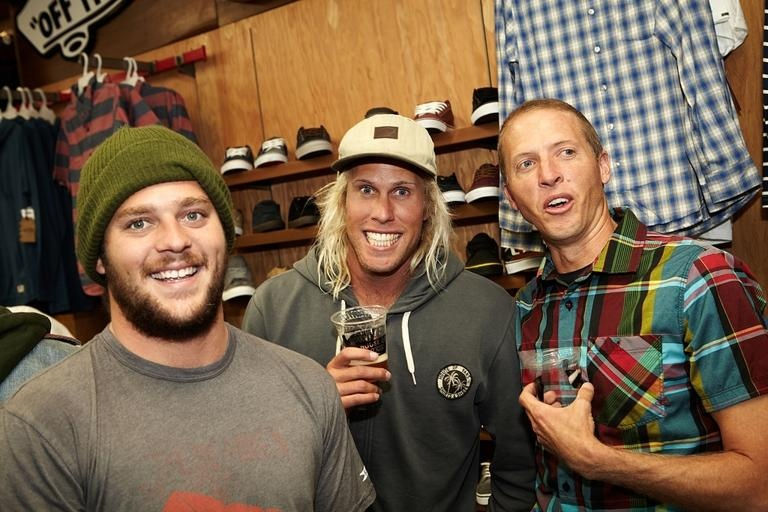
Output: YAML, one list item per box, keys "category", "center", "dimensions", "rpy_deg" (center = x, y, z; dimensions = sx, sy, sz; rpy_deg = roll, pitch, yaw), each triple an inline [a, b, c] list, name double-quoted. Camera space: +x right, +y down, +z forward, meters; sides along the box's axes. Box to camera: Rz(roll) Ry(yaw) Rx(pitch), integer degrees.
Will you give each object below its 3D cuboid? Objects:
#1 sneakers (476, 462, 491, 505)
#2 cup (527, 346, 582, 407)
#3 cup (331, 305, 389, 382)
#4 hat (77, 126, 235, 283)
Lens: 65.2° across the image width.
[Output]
- category: "sneakers"
  center: [0.547, 1.246, 3.285]
  dimensions: [0.122, 0.161, 0.384]
  rpy_deg: [-1, -9, 9]
- category: "cup"
  center: [0.667, 0.474, 2.396]
  dimensions: [0.175, 0.222, 0.233]
  rpy_deg: [-3, 14, 13]
- category: "cup"
  center: [-0.138, 0.369, 2.498]
  dimensions: [0.241, 0.316, 0.229]
  rpy_deg: [-8, -11, -2]
- category: "hat"
  center: [-0.880, -0.256, 2.259]
  dimensions: [0.490, 0.510, 0.518]
  rpy_deg: [-3, -21, -38]
